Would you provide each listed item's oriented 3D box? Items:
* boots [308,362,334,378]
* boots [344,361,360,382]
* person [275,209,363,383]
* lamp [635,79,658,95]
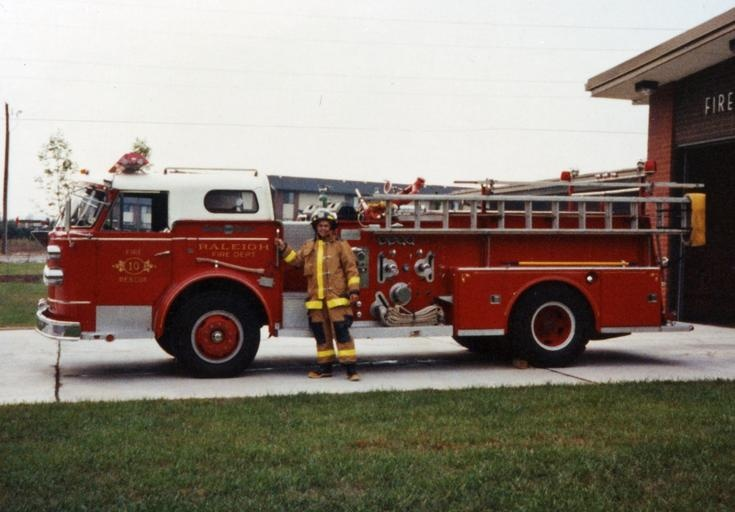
[{"bbox_3d":[-0.675,1.665,12.940,0.380,0.287,0.164,7,-7,-16],"label":"boots"},{"bbox_3d":[-0.219,1.618,12.706,0.202,0.284,0.540,0,5,-1],"label":"boots"},{"bbox_3d":[-0.594,0.540,12.727,1.062,2.388,0.439,2,5,18],"label":"person"},{"bbox_3d":[5.957,-3.620,19.075,0.504,0.230,0.620,3,6,28],"label":"lamp"}]
